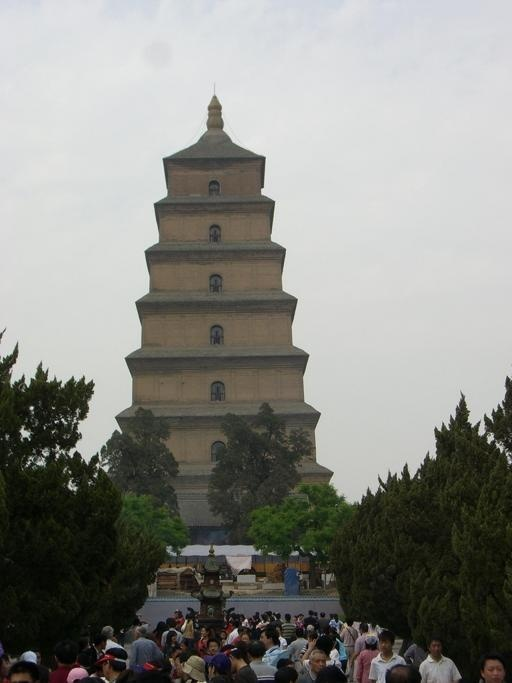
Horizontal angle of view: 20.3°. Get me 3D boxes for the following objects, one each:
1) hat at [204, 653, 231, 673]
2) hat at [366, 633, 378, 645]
[{"bbox_3d":[-0.422,3.641,16.108,0.246,0.234,0.291,-2,-10,-2],"label":"hat"},{"bbox_3d":[1.697,4.445,21.179,0.165,0.146,0.417,-3,-10,2],"label":"hat"}]
